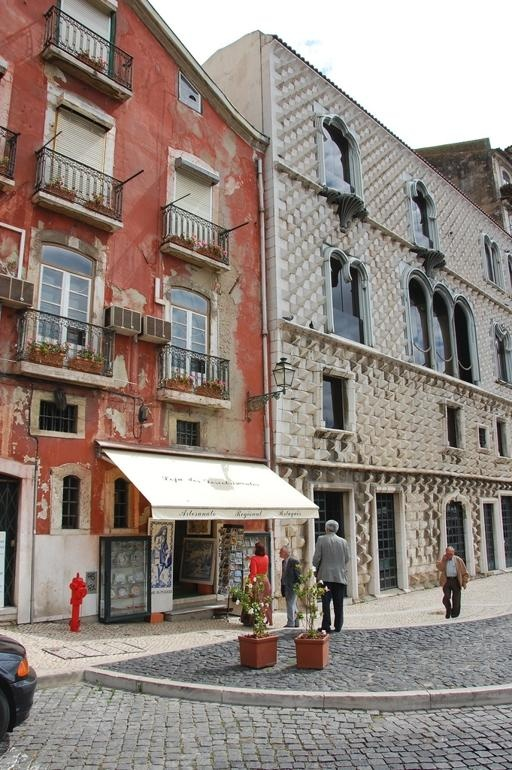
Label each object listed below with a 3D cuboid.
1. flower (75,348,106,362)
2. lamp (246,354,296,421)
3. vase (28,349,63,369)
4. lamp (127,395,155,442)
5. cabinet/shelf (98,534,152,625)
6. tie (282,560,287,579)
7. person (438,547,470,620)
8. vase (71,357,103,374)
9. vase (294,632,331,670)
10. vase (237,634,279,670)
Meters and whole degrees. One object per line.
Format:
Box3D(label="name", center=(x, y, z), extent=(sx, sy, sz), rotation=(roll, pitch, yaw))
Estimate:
Box3D(label="flower", center=(-2.990, -0.527, 11.171), extent=(0.266, 0.150, 0.339), rotation=(14, 4, 21))
Box3D(label="lamp", center=(0.395, 0.081, 14.363), extent=(0.985, 1.158, 2.115), rotation=(3, -13, -15))
Box3D(label="vase", center=(-3.508, -0.453, 10.400), extent=(0.265, 0.174, 0.397), rotation=(7, 3, 35))
Box3D(label="lamp", center=(-2.282, 0.665, 12.047), extent=(0.271, 0.799, 0.842), rotation=(-3, -6, 19))
Box3D(label="cabinet/shelf", center=(-2.312, 3.386, 10.701), extent=(0.374, 1.951, 1.231), rotation=(-19, -22, 36))
Box3D(label="tie", center=(0.508, 3.303, 11.179), extent=(0.058, 0.251, 0.176), rotation=(5, -1, -15))
Box3D(label="person", center=(4.084, 4.043, 12.878), extent=(0.560, 1.356, 1.433), rotation=(-4, -13, 16))
Box3D(label="vase", center=(-3.035, -0.346, 11.022), extent=(0.256, 0.172, 0.388), rotation=(2, -5, 40))
Box3D(label="vase", center=(0.683, 3.238, 7.534), extent=(0.384, 0.382, 0.388), rotation=(-3, -8, 14))
Box3D(label="vase", center=(0.005, 3.280, 7.748), extent=(0.425, 0.374, 0.425), rotation=(14, -24, -39))
